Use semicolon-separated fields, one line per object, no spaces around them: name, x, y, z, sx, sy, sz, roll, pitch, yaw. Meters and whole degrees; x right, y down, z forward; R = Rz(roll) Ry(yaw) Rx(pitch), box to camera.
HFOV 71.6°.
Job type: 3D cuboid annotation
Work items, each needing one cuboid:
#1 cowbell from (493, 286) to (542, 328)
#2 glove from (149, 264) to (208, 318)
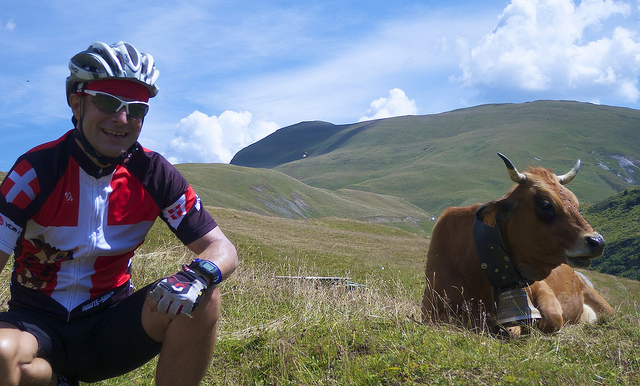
cowbell;2.999;1.695;6.805;0.614;0.419;0.594;-13;-8;22
glove;-1.436;0.995;4.477;0.530;0.525;0.229;-39;-44;-13
